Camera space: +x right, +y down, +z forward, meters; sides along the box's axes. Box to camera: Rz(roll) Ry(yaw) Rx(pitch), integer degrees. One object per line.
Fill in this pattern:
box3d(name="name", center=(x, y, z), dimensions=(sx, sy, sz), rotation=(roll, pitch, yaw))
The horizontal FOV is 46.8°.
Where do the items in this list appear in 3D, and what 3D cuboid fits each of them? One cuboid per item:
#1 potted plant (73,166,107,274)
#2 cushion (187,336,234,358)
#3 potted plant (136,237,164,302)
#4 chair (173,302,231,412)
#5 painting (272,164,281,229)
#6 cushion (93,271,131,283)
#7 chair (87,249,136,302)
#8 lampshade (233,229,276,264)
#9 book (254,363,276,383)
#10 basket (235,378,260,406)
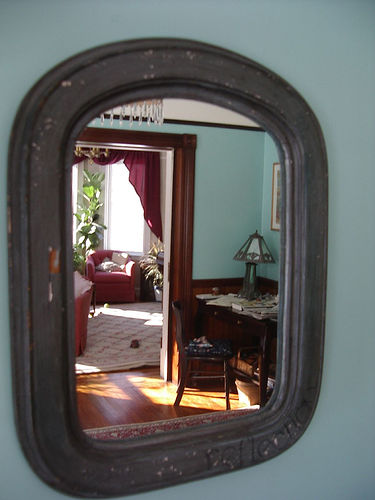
box3d(name="potted plant", center=(-1.484, -0.484, 6.654), dimensions=(0.523, 1.606, 0.711), rotation=(3, 5, -14))
box3d(name="cushion", center=(0.175, 0.700, 3.125), dimensions=(0.196, 0.062, 0.172), rotation=(-2, 25, 5))
box3d(name="potted plant", center=(-0.453, 0.208, 6.332), dimensions=(0.464, 0.907, 0.527), rotation=(-11, 18, -35))
box3d(name="chair", center=(0.122, 0.783, 3.279), dimensions=(0.459, 0.751, 0.439), rotation=(0, -11, 6))
box3d(name="painting", center=(0.744, -0.428, 3.547), dimensions=(0.019, 0.592, 0.317), rotation=(1, 6, 23))
box3d(name="cushion", center=(-1.098, 0.393, 6.283), dimensions=(0.541, 0.147, 0.193), rotation=(3, 5, -17))
box3d(name="chair", center=(-1.134, 0.386, 6.465), dimensions=(0.724, 0.704, 0.675), rotation=(4, 5, -8))
box3d(name="lampshade", center=(0.545, -0.024, 3.406), dimensions=(0.355, 0.268, 0.353), rotation=(3, 1, -29))
box3d(name="book", center=(0.614, 0.901, 3.198), dimensions=(0.161, 0.043, 0.171), rotation=(-10, 12, -41))
box3d(name="basket", center=(0.436, 1.047, 3.144), dimensions=(0.099, 0.178, 0.216), rotation=(2, 5, -26))
